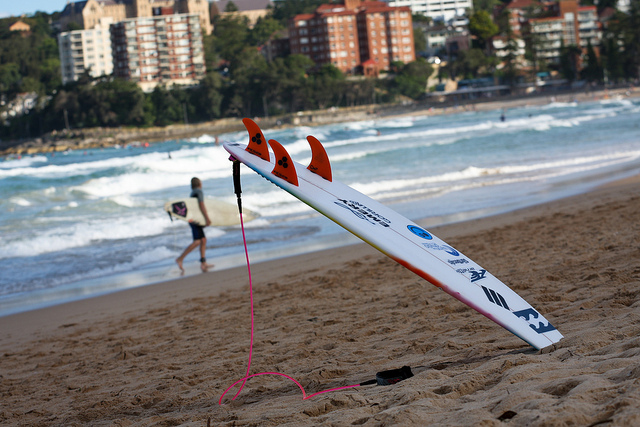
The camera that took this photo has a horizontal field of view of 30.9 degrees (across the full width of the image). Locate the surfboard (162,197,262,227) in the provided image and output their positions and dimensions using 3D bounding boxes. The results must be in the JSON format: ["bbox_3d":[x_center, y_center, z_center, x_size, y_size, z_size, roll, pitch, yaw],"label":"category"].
[{"bbox_3d":[-3.448,0.014,34.510,3.308,1.038,0.472,4,-33,-38],"label":"surfboard"}]

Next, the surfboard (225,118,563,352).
[{"bbox_3d":[1.776,0.563,28.163,1.118,9.258,1.971,-59,-9,28],"label":"surfboard"}]
